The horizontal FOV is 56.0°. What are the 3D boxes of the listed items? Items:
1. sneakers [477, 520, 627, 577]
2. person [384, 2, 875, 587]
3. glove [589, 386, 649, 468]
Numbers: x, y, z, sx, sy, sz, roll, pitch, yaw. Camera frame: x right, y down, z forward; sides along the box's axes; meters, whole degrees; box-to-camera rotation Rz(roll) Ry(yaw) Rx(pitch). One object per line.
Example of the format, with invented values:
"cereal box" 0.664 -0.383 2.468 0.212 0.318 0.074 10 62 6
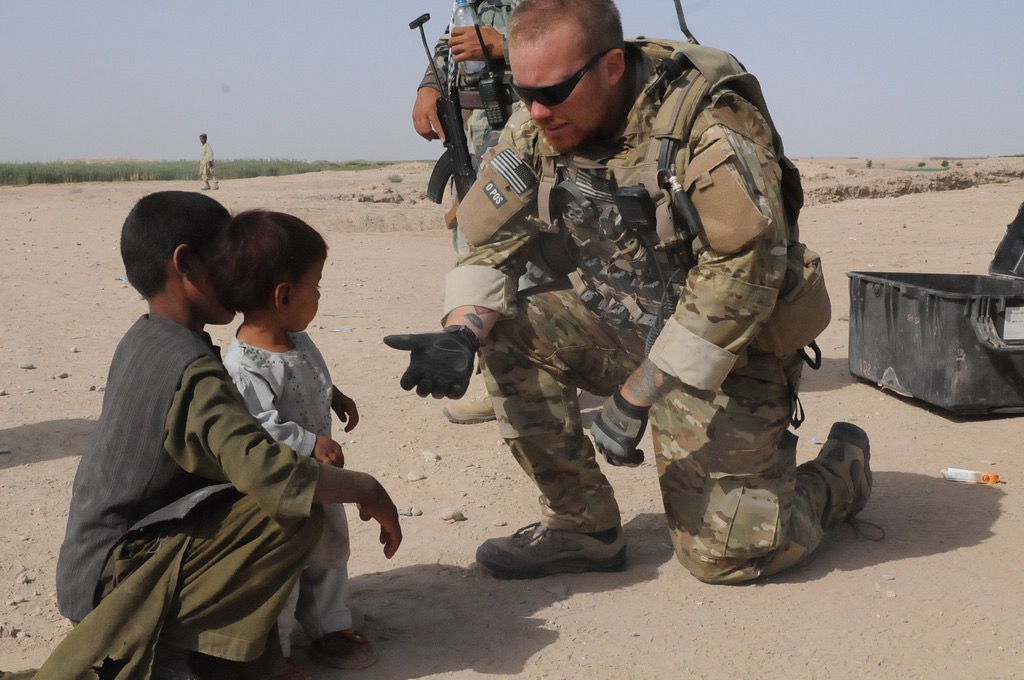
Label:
"sneakers" 0.166 0.893 4.125 0.650 0.244 0.229 2 5 -7
"person" 0.527 -0.166 3.854 1.649 2.313 0.889 2 15 12
"glove" 0.462 0.340 3.719 0.225 0.267 0.127 32 28 33
